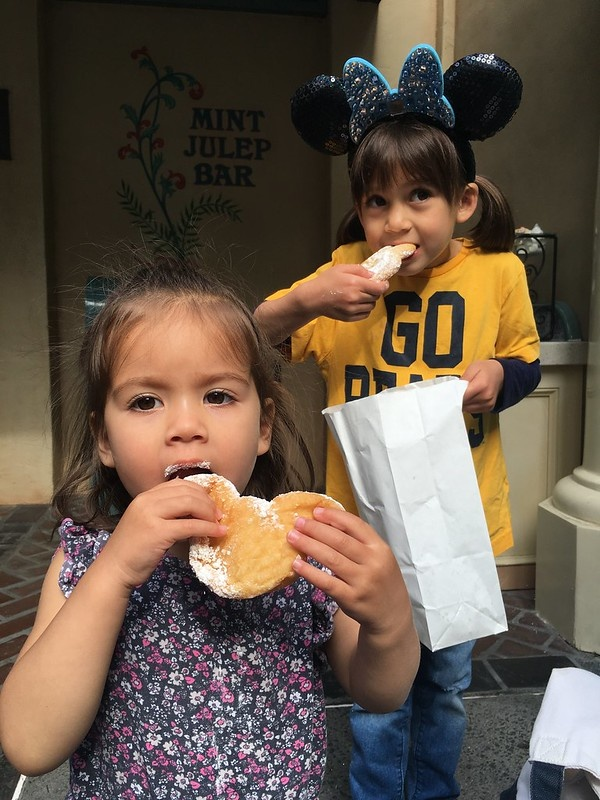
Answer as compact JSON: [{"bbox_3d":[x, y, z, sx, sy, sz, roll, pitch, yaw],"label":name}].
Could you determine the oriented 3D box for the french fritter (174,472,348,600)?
[{"bbox_3d":[-0.077,0.219,1.099,0.262,0.164,0.073,-1,-21,13],"label":"french fritter"}]

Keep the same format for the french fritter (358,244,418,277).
[{"bbox_3d":[0.223,-0.364,1.798,0.128,0.030,0.073,-33,51,-9],"label":"french fritter"}]

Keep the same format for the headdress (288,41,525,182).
[{"bbox_3d":[0.317,-0.857,2.117,0.675,0.332,0.191,5,17,23],"label":"headdress"}]

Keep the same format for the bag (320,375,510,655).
[{"bbox_3d":[0.250,0.248,1.577,0.316,0.517,0.197,-20,30,-21],"label":"bag"}]
